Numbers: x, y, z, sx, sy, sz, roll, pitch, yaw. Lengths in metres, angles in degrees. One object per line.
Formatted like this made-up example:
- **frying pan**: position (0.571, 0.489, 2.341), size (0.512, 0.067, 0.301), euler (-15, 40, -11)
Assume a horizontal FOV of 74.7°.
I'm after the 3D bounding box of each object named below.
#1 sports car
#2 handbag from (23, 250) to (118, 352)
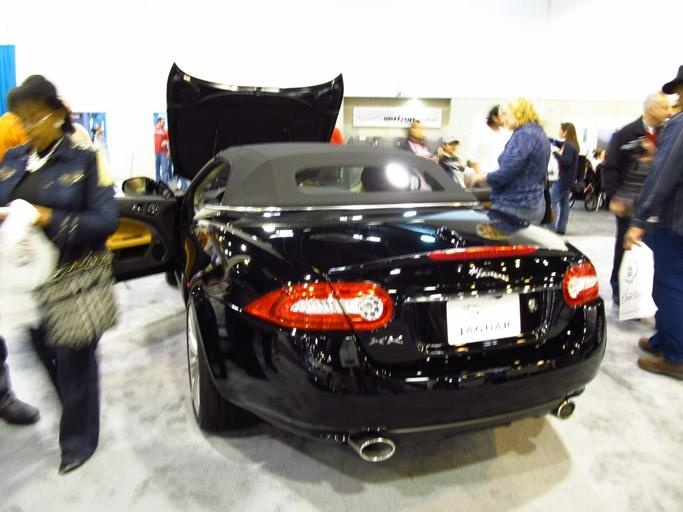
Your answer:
- **sports car**: position (-0.204, -0.126, 2.728), size (1.850, 1.293, 2.779), euler (-6, 21, -25)
- **handbag**: position (-1.142, 0.129, 2.054), size (0.364, 0.164, 0.614), euler (-5, 59, 0)
